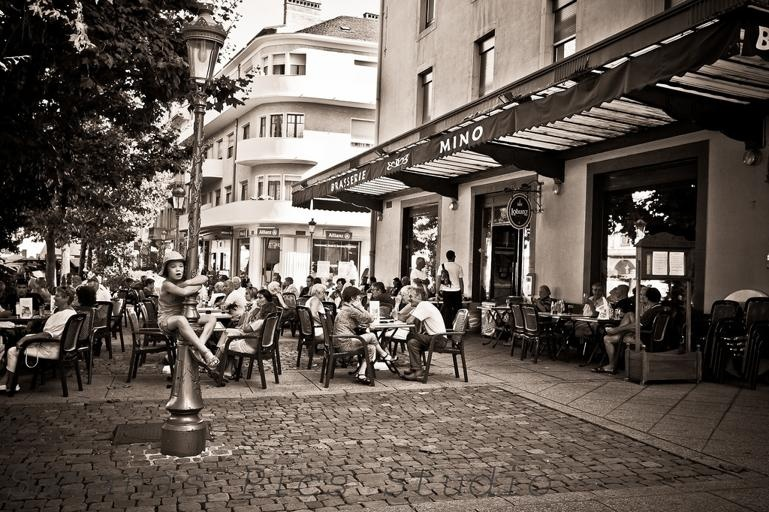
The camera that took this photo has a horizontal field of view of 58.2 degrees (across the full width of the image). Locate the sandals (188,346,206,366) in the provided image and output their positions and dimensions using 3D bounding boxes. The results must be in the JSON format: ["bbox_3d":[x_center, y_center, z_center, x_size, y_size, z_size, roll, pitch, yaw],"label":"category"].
[{"bbox_3d":[-2.581,1.363,9.406,0.117,0.300,0.118,-23,12,34],"label":"sandals"}]

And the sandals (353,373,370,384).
[{"bbox_3d":[-0.426,2.278,12.874,0.330,0.136,0.129,0,-5,25],"label":"sandals"}]

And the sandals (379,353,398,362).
[{"bbox_3d":[0.061,2.029,13.822,0.352,0.146,0.127,-5,1,-19],"label":"sandals"}]
